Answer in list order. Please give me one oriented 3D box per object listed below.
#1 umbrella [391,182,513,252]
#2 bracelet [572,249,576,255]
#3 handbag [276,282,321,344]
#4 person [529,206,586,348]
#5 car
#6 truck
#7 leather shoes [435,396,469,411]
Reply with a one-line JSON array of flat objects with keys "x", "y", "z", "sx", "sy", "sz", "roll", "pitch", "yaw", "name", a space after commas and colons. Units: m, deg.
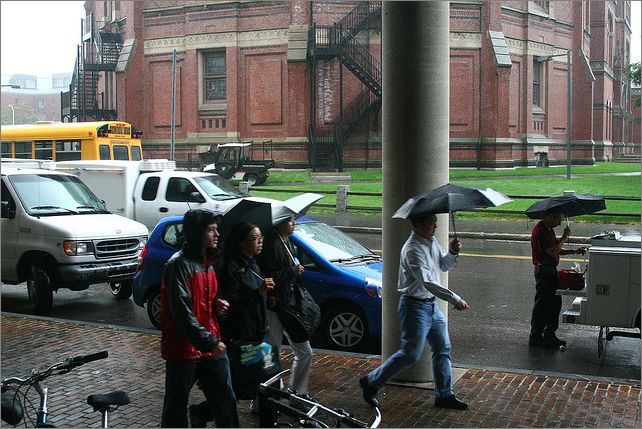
[{"x": 1.697, "y": 0.017, "z": 8.467, "sx": 1.451, "sy": 0.838, "sz": 1.396, "roll": -7, "pitch": 5, "yaw": 10, "name": "umbrella"}, {"x": 4.230, "y": 0.650, "z": 10.811, "sx": 0.087, "sy": 0.110, "sz": 0.036, "roll": -2, "pitch": 6, "yaw": 2, "name": "bracelet"}, {"x": -0.295, "y": 1.165, "z": 8.092, "sx": 0.498, "sy": 0.756, "sz": 0.603, "roll": -11, "pitch": 12, "yaw": 15, "name": "handbag"}, {"x": 3.760, "y": 1.065, "z": 10.675, "sx": 0.555, "sy": 2.282, "sz": 0.478, "roll": 1, "pitch": 5, "yaw": 19, "name": "person"}, {"x": -0.946, "y": 1.112, "z": 11.560, "sx": 3.956, "sy": 1.570, "sz": 2.202, "roll": 0, "pitch": 2, "yaw": 14, "name": "car"}, {"x": -6.091, "y": -0.719, "z": 19.378, "sx": 9.385, "sy": 2.506, "sz": 2.615, "roll": 0, "pitch": 4, "yaw": 14, "name": "truck"}, {"x": 1.640, "y": 2.411, "z": 8.242, "sx": 0.510, "sy": 0.192, "sz": 0.161, "roll": 0, "pitch": 2, "yaw": 4, "name": "leather shoes"}]
